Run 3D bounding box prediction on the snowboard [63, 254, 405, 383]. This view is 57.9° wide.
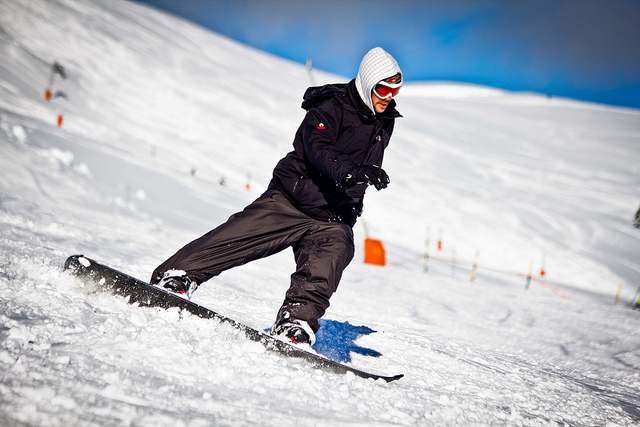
[{"bbox_3d":[-1.222,1.410,7.552,2.985,0.165,0.357,26,-30,4],"label":"snowboard"}]
